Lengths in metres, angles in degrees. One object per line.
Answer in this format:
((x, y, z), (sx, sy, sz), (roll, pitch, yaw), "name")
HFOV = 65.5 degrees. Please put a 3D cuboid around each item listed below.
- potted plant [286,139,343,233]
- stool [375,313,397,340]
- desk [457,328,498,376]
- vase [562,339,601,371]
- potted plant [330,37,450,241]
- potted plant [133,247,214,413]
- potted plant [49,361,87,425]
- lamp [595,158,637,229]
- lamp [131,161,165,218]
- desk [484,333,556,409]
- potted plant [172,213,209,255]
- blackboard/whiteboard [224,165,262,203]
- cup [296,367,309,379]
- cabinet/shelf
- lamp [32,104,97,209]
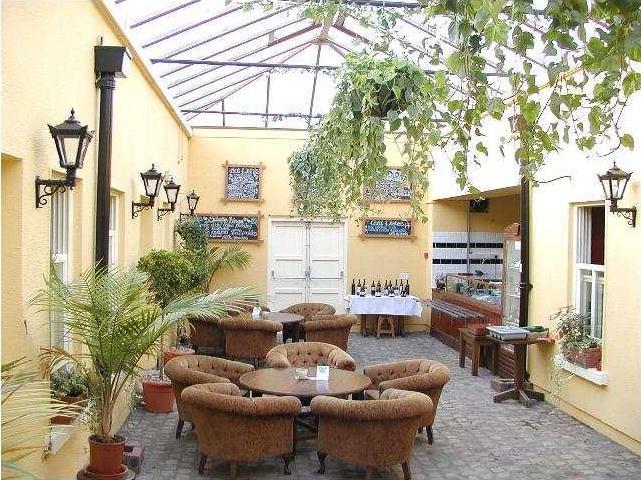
((-0.128, -0.968, 8.364), (1.114, 0.946, 1.756), (1, -7, -6), "potted plant")
((1.487, 1.907, 11.113), (0.422, 0.693, 0.456), (0, 1, -3), "stool")
((2.569, 1.654, 8.388), (0.571, 0.991, 0.964), (-1, 3, -3), "desk")
((3.263, 1.383, 6.145), (0.290, 0.318, 0.506), (-1, 2, -36), "vase")
((0.412, -0.726, 3.237), (0.551, 0.915, 0.648), (4, 22, -45), "potted plant")
((-1.945, 0.686, 6.733), (0.970, 1.056, 0.703), (-2, -1, -39), "potted plant")
((-2.103, 1.300, 4.042), (0.276, 0.453, 0.445), (6, -25, -39), "potted plant")
((3.265, -0.504, 5.484), (0.359, 0.722, 0.341), (0, 3, -19), "lamp")
((-2.284, -0.653, 6.571), (0.380, 0.746, 0.621), (0, 2, -20), "lamp")
((2.792, 1.756, 7.040), (0.770, 1.003, 0.848), (0, 0, 8), "desk")
((-2.455, -0.095, 9.616), (0.659, 0.430, 0.651), (-8, 4, -21), "potted plant")
((-1.717, -1.274, 11.135), (0.832, 0.979, 0.095), (-1, 38, -13), "blackboard/whiteboard")
((-0.196, 1.474, 5.517), (0.122, 0.104, 0.074), (1, 1, 4), "cup")
((3.263, 0.557, 8.353), (0.206, 2.329, 0.913), (-3, -22, 30), "cabinet/shelf")
((-1.915, -0.625, 3.750), (0.367, 0.784, 0.605), (-1, 3, -25), "lamp")
